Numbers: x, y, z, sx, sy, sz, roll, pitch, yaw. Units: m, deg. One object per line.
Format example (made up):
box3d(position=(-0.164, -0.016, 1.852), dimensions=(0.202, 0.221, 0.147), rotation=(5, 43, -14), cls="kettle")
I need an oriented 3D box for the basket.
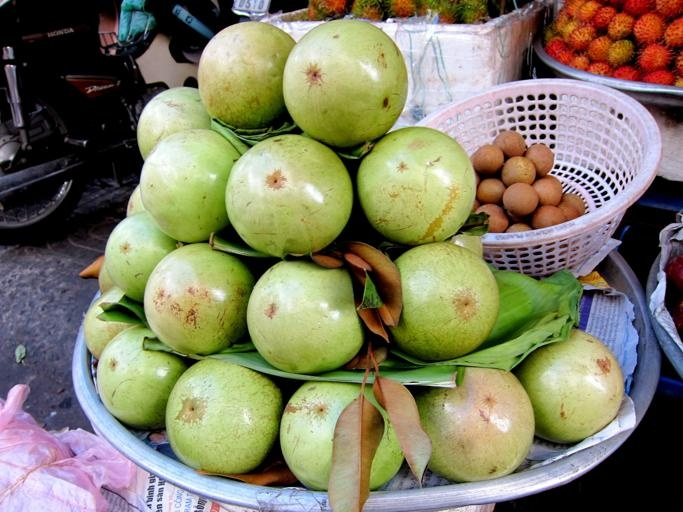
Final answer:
box3d(position=(0.599, -0.169, 2.099), dimensions=(0.699, 0.751, 0.792), rotation=(0, 39, 0), cls="basket")
